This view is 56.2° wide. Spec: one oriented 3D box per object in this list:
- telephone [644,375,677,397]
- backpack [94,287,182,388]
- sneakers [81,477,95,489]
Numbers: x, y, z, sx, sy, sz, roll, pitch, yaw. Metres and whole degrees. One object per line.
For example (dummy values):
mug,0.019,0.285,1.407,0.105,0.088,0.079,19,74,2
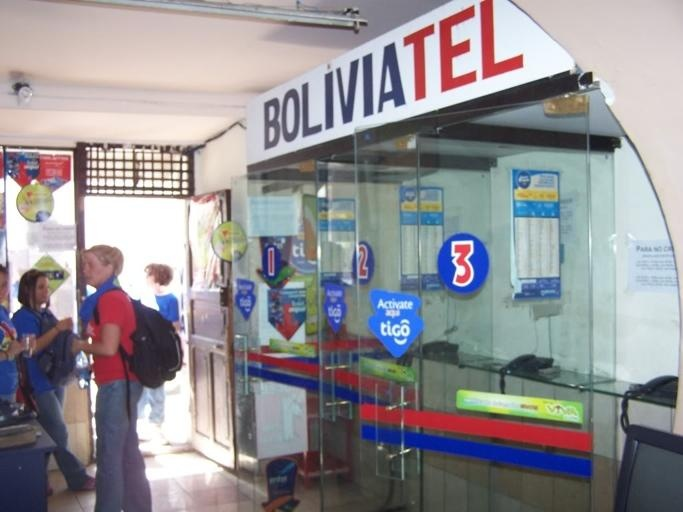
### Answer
telephone,1.391,0.561,2.746,0.200,0.076,0.098,-2,3,-37
backpack,-1.092,0.511,3.712,0.598,0.663,0.400,-3,-4,-28
sneakers,-1.890,1.719,4.808,0.041,0.054,0.124,2,3,31
